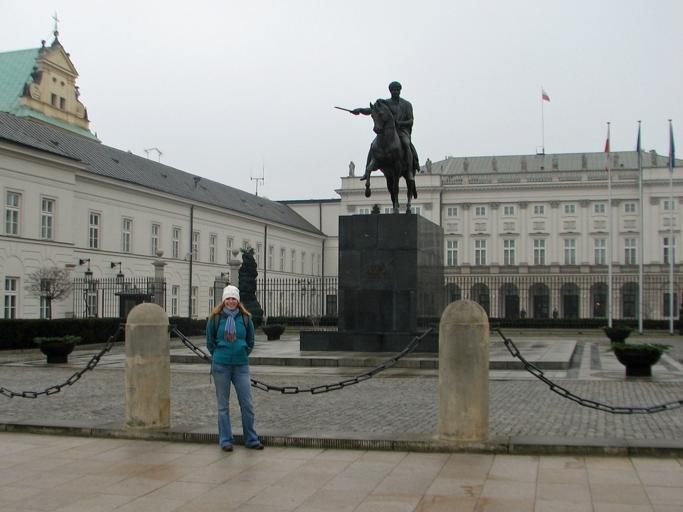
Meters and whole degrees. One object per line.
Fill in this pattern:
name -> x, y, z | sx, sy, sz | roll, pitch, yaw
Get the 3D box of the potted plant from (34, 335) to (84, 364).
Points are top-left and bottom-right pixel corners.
potted plant -> -7.374, 2.416, 26.046 | 0.786, 0.450, 0.804 | -1, -9, -1

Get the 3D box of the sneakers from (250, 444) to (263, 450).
sneakers -> -1.274, 2.926, 15.097 | 0.213, 0.100, 0.091 | -2, -4, -6

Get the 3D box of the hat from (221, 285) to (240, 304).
hat -> -1.719, 0.604, 15.570 | 0.268, 0.285, 0.299 | 2, 3, -5

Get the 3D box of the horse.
horse -> 1.450, -2.589, 27.094 | 1.365, 2.919, 4.372 | 3, -6, 17

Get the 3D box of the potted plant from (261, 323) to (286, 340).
potted plant -> -2.389, 2.754, 35.580 | 0.587, 0.391, 0.601 | -1, -7, 5

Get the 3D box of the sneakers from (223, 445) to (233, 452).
sneakers -> -1.709, 2.947, 15.023 | 0.066, 0.084, 0.189 | 2, -2, 8

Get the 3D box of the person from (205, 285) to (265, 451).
person -> -1.667, 1.725, 15.453 | 0.785, 2.567, 0.775 | -1, -4, -8
